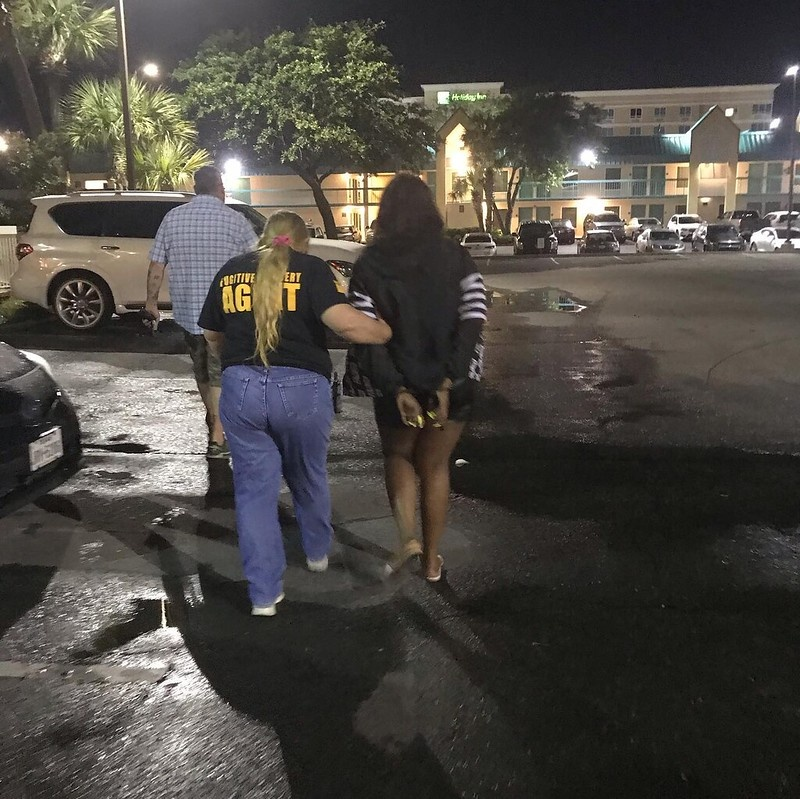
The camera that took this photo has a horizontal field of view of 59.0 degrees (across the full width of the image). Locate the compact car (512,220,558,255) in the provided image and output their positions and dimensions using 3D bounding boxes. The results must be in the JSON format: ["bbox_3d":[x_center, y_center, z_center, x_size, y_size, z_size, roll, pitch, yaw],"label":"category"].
[{"bbox_3d":[7.115,-8.279,36.887,2.044,1.733,1.842,3,10,20],"label":"compact car"}]

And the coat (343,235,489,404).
[{"bbox_3d":[0.122,-0.361,3.396,0.634,0.722,0.284,-1,4,4],"label":"coat"}]

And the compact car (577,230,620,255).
[{"bbox_3d":[9.997,-7.572,35.354,1.903,1.382,3.122,0,19,9],"label":"compact car"}]

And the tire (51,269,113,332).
[{"bbox_3d":[-5.047,-1.561,11.174,0.990,0.933,0.337,-1,4,-3],"label":"tire"}]

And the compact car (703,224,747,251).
[{"bbox_3d":[15.751,-7.624,34.283,1.346,1.046,2.566,1,16,16],"label":"compact car"}]

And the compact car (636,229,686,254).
[{"bbox_3d":[12.137,-7.189,32.914,1.445,1.005,3.039,-1,9,6],"label":"compact car"}]

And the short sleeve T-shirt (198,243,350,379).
[{"bbox_3d":[-0.574,-0.377,3.215,0.746,0.599,0.379,3,18,12],"label":"short sleeve T-shirt"}]
